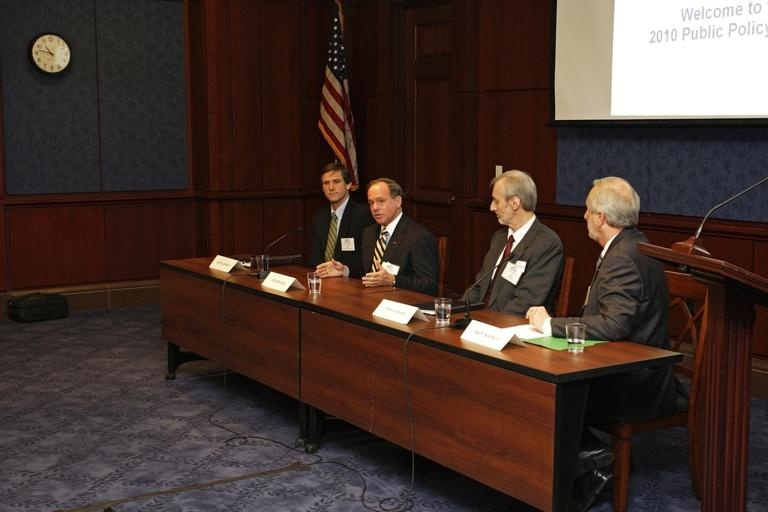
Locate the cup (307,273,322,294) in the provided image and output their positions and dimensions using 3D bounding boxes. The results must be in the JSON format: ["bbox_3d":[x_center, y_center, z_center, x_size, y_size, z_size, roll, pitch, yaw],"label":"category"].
[{"bbox_3d":[-0.462,0.181,3.830,0.122,0.134,0.117,0,-2,0],"label":"cup"}]

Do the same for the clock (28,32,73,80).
[{"bbox_3d":[-3.854,-2.305,6.521,0.525,0.587,0.076,-9,3,-37],"label":"clock"}]

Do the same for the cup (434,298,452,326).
[{"bbox_3d":[0.312,0.303,3.051,0.127,0.186,0.123,0,-1,0],"label":"cup"}]

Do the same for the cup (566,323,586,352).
[{"bbox_3d":[0.872,0.369,2.606,0.078,0.124,0.072,0,9,0],"label":"cup"}]

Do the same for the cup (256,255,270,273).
[{"bbox_3d":[-0.935,0.058,4.288,0.099,0.125,0.121,-2,1,-36],"label":"cup"}]
